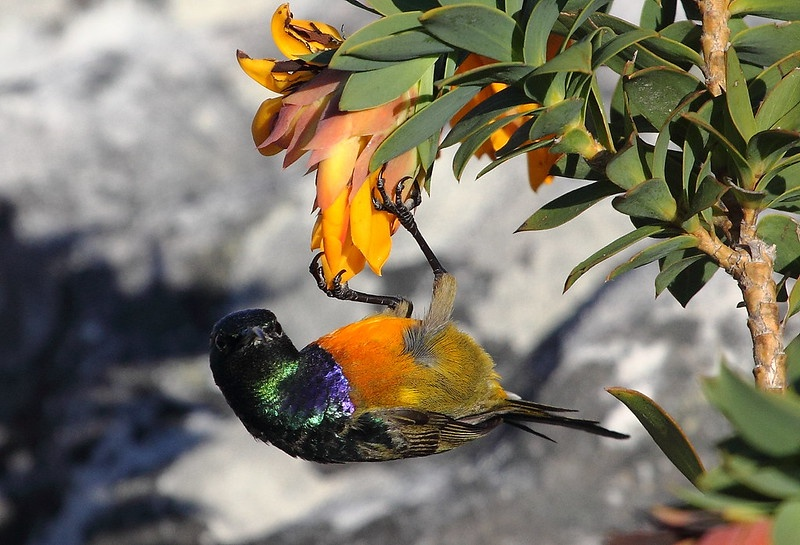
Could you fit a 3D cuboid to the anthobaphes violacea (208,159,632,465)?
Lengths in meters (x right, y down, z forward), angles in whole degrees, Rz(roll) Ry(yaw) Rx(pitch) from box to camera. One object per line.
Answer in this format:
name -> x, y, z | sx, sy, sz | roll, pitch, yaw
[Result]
anthobaphes violacea -> 0.005, 0.296, 3.935 | 1.347, 1.055, 0.463 | -11, 25, -28
